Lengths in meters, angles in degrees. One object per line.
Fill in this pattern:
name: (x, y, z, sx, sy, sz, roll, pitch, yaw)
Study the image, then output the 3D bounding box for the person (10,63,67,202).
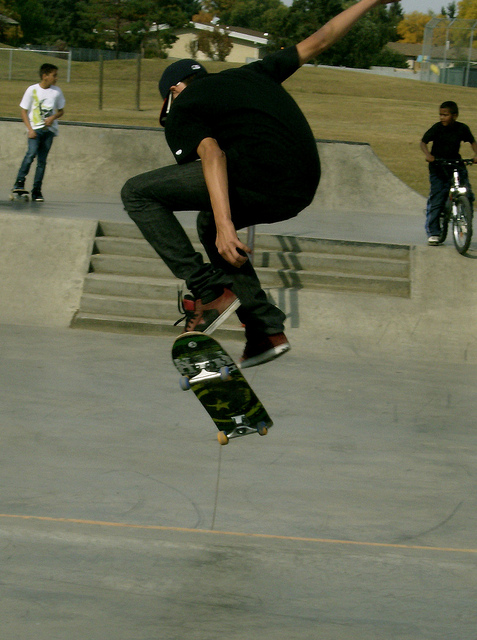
person: (-2.298, -2.160, 9.961, 0.608, 1.591, 0.594, -1, 13, -12)

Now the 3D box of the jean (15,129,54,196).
jean: (-2.335, -1.817, 9.964, 0.400, 0.738, 0.442, -3, 13, -23)

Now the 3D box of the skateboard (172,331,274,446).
skateboard: (-0.048, 0.331, 4.181, 0.287, 0.835, 0.139, -27, 39, 26)

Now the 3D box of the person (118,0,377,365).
person: (-0.014, -0.595, 4.098, 0.845, 1.730, 0.938, 9, 14, 26)
